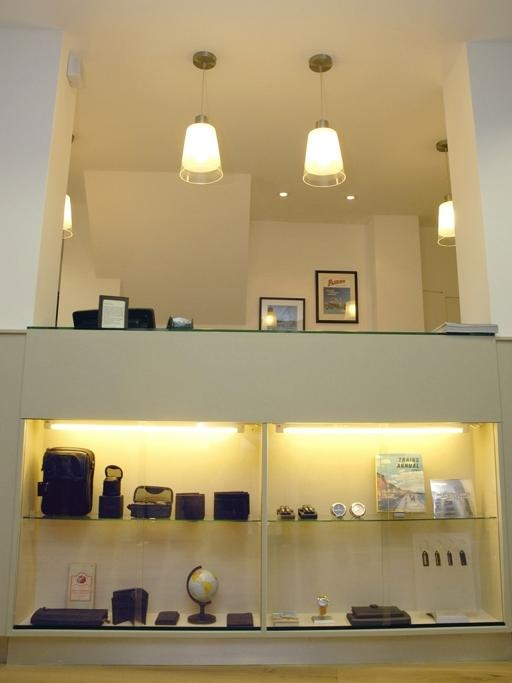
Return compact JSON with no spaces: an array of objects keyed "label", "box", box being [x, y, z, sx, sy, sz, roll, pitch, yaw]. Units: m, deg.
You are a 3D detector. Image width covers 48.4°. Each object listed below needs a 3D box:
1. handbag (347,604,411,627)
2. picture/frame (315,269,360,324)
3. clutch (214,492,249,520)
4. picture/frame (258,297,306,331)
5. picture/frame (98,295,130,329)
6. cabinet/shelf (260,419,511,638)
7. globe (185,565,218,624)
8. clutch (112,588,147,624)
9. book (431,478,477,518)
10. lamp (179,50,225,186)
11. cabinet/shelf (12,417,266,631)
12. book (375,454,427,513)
[{"label":"handbag","box":[0.542,1.221,2.519,0.275,0.089,0.100,0,-18,0]},{"label":"picture/frame","box":[0.737,-0.397,5.241,0.469,0.605,0.024,2,-11,-12]},{"label":"clutch","box":[-0.102,0.740,2.618,0.131,0.131,0.128,0,-7,9]},{"label":"picture/frame","box":[0.222,-0.240,5.047,0.299,0.238,0.014,0,-5,-6]},{"label":"picture/frame","box":[-0.652,-0.130,2.609,0.144,0.176,0.016,2,-8,-17]},{"label":"cabinet/shelf","box":[0.584,0.880,2.584,0.862,0.809,0.294,0,-9,0]},{"label":"globe","box":[-0.238,1.124,2.542,0.135,0.232,0.129,0,-15,2]},{"label":"clutch","box":[-0.548,1.155,2.473,0.146,0.152,0.104,-4,-18,2]},{"label":"book","box":[0.924,0.737,2.645,0.174,0.160,0.025,0,-30,1]},{"label":"lamp","box":[-0.278,-1.133,3.031,0.200,0.875,0.609,3,-18,-7]},{"label":"cabinet/shelf","box":[-0.539,0.846,2.528,0.798,0.722,0.272,0,-9,-2]},{"label":"book","box":[0.674,0.672,2.652,0.252,0.306,0.042,1,-20,0]}]
